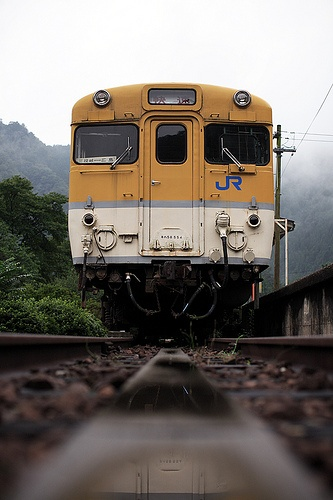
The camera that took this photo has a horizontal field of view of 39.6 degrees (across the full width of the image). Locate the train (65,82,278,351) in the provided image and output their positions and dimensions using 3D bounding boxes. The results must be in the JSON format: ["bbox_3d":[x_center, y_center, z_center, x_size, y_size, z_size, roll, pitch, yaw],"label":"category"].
[{"bbox_3d":[0.164,-0.830,10.024,2.377,3.120,5.412,0,-1,2],"label":"train"}]
